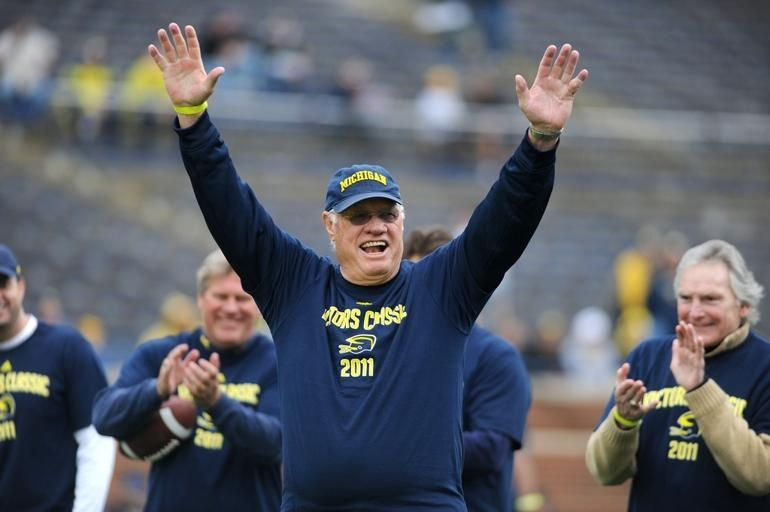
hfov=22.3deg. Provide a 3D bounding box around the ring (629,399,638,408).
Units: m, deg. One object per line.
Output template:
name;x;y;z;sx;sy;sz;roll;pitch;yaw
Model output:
ring;3.323;1.946;26.030;0.085;0.083;0.020;-36;-2;22
